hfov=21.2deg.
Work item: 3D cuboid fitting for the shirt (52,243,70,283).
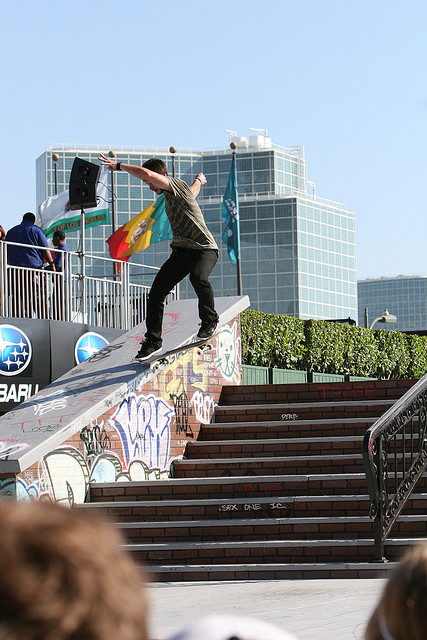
[{"bbox_3d":[-1.758,-0.657,13.130,0.186,0.448,0.844,1,0,-7],"label":"shirt"}]

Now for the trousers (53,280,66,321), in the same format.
[{"bbox_3d":[-1.740,-0.222,12.819,0.080,0.434,0.305,1,0,13],"label":"trousers"}]

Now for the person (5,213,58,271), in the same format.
[{"bbox_3d":[-2.058,-0.869,12.582,0.561,0.633,0.889,1,0,0],"label":"person"}]

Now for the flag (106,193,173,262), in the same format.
[{"bbox_3d":[-1.398,-1.536,19.856,1.071,1.682,1.115,-1,6,25],"label":"flag"}]

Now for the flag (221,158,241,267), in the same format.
[{"bbox_3d":[0.336,-1.950,21.603,0.198,2.457,0.258,0,3,8],"label":"flag"}]
